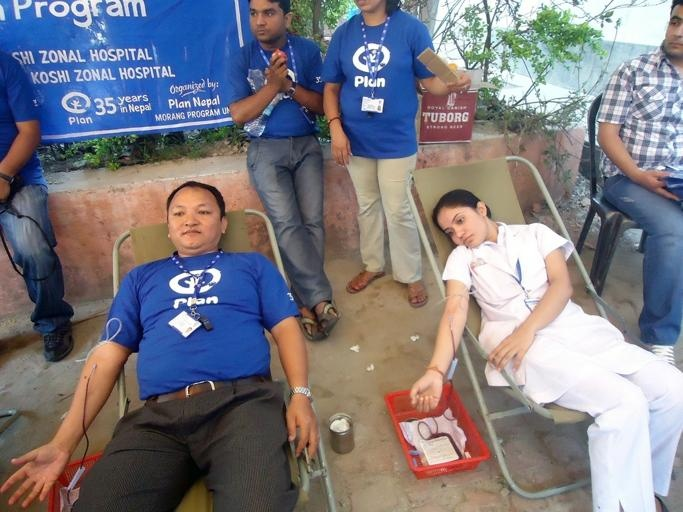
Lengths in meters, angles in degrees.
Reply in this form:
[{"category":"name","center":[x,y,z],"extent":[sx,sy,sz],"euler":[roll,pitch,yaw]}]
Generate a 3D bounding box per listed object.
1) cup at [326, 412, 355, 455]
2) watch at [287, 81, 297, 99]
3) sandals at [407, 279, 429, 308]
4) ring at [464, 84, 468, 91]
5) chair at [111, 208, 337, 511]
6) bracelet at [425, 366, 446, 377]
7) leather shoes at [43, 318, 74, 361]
[{"category":"cup","center":[-0.015,1.056,2.820],"extent":[0.178,0.204,0.149],"euler":[1,25,13]},{"category":"watch","center":[-0.350,-1.165,3.316],"extent":[0.067,0.102,0.109],"euler":[1,-19,-9]},{"category":"sandals","center":[0.599,0.303,3.743],"extent":[0.096,0.096,0.260],"euler":[-10,20,5]},{"category":"ring","center":[0.814,-1.107,3.105],"extent":[0.038,0.032,0.044],"euler":[-2,13,2]},{"category":"chair","center":[-0.765,0.613,2.895],"extent":[1.005,1.054,2.014],"euler":[-8,49,-11]},{"category":"bracelet","center":[0.512,0.640,2.543],"extent":[0.072,0.017,0.068],"euler":[28,12,-26]},{"category":"leather shoes","center":[-2.133,0.628,3.614],"extent":[0.192,0.223,0.519],"euler":[5,10,-19]}]
